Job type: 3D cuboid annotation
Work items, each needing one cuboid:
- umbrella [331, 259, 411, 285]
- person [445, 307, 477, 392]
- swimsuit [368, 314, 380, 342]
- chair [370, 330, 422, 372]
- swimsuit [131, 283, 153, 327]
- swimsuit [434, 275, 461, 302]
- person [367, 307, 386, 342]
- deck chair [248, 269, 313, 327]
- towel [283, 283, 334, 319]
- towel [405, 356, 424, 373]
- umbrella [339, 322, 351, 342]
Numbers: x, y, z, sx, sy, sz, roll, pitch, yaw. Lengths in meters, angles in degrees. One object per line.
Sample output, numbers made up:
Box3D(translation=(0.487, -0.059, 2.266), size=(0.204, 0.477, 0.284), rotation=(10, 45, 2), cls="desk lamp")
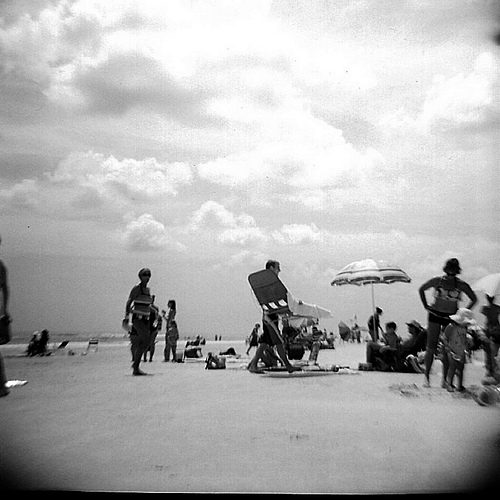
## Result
Box3D(translation=(3.367, 0.672, 11.819), size=(1.867, 0.714, 1.922), rotation=(-1, -14, -3), cls="umbrella")
Box3D(translation=(3.042, 1.444, 5.782), size=(0.416, 1.210, 0.590), rotation=(-5, -7, 26), cls="person")
Box3D(translation=(3.412, 2.116, 11.084), size=(0.298, 0.699, 0.854), rotation=(-4, -7, 16), cls="swimsuit")
Box3D(translation=(3.120, 2.172, 8.632), size=(0.904, 0.854, 0.713), rotation=(2, -14, 24), cls="chair")
Box3D(translation=(-1.953, 0.968, 7.351), size=(0.349, 0.587, 0.419), rotation=(-1, -8, 6), cls="swimsuit")
Box3D(translation=(2.864, 0.571, 5.879), size=(0.376, 0.376, 0.135), rotation=(0, -7, -11), cls="swimsuit")
Box3D(translation=(3.494, 2.088, 11.084), size=(0.575, 0.997, 0.341), rotation=(2, -33, 21), cls="person")
Box3D(translation=(0.389, 0.907, 7.808), size=(0.779, 1.056, 0.375), rotation=(-1, -7, -3), cls="deck chair")
Box3D(translation=(1.436, 1.309, 9.630), size=(1.384, 0.610, 0.575), rotation=(6, 1, -15), cls="towel")
Box3D(translation=(3.247, 2.297, 8.004), size=(0.160, 0.389, 0.141), rotation=(5, -47, -42), cls="towel")
Box3D(translation=(4.310, 3.750, 18.367), size=(0.696, 0.732, 0.329), rotation=(9, 34, 25), cls="umbrella")
